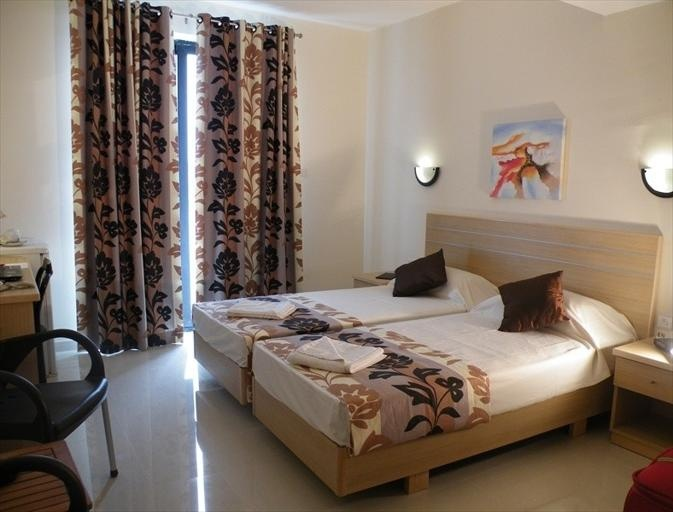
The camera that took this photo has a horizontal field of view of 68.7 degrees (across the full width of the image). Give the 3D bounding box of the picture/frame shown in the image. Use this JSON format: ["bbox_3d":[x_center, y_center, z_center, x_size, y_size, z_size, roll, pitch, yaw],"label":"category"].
[{"bbox_3d":[1.543,-0.787,3.943,0.070,0.649,0.666,-7,11,-33],"label":"picture/frame"}]

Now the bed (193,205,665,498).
[{"bbox_3d":[0.713,0.572,3.262,2.130,1.169,2.022,-10,17,-33],"label":"bed"}]

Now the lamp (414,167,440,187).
[{"bbox_3d":[0.883,-0.794,4.873,0.081,0.201,0.362,-6,14,-27],"label":"lamp"}]

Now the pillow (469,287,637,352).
[{"bbox_3d":[1.538,0.408,3.430,0.622,0.170,0.481,16,25,38],"label":"pillow"}]
